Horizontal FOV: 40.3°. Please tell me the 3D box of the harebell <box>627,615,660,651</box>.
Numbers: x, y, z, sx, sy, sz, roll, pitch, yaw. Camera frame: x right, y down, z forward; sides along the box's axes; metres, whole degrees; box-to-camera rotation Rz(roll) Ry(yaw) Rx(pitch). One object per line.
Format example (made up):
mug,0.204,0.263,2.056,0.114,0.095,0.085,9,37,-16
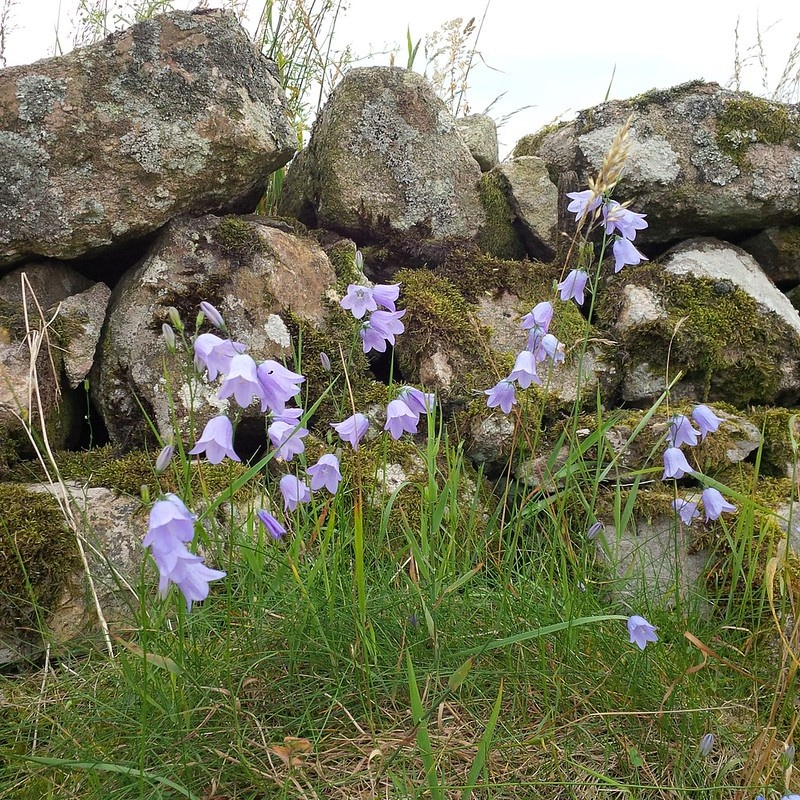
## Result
harebell,0.828,0.791,3.760,0.095,0.129,0.043,-16,1,-30
